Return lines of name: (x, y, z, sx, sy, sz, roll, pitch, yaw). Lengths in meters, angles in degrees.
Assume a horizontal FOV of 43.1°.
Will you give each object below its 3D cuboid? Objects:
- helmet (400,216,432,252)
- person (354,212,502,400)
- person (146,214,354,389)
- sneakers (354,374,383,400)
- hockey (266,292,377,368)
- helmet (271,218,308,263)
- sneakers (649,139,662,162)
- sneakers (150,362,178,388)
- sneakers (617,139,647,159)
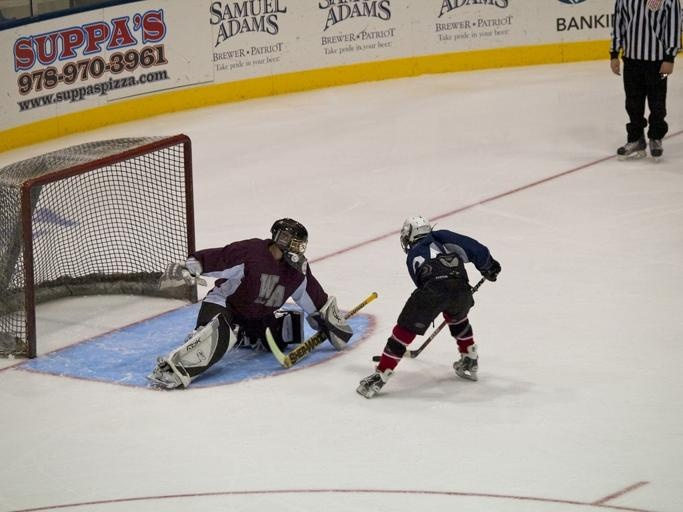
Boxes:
helmet: (0.436, -0.121, 4.800, 0.174, 0.182, 0.206, -16, 5, -32)
person: (0.508, 0.325, 5.081, 1.081, 0.964, 0.577, -10, 3, -2)
person: (-0.582, 0.203, 4.942, 0.737, 0.775, 1.415, 17, 17, 36)
sneakers: (0.164, 0.674, 4.556, 0.150, 0.110, 0.060, -45, -7, 15)
hockey: (-0.128, 0.448, 5.087, 0.103, 0.128, 0.971, 15, 27, 31)
helmet: (-0.283, -0.089, 4.867, 0.277, 0.231, 0.203, 13, 4, -5)
sneakers: (2.878, -0.965, 7.895, 0.086, 0.089, 0.213, -2, 37, 10)
sneakers: (-0.943, 0.642, 4.698, 0.142, 0.140, 0.055, 21, 6, 19)
sneakers: (2.703, -0.979, 7.999, 0.355, 0.166, 0.127, -4, 20, -19)
